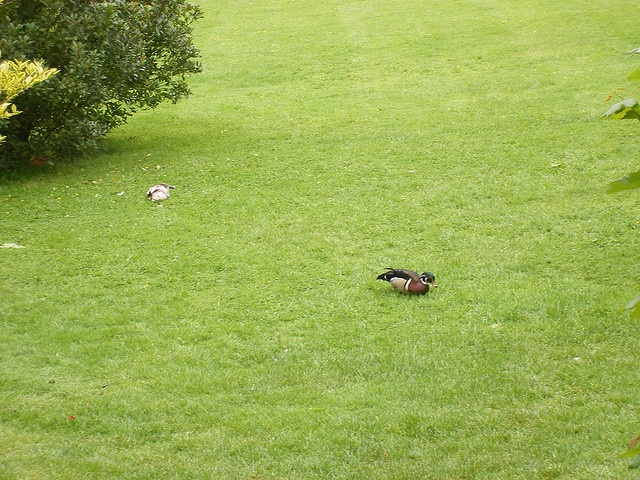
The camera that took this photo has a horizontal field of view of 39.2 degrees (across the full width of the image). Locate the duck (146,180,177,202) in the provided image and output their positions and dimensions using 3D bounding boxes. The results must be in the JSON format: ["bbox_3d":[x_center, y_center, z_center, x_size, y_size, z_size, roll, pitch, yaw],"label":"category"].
[{"bbox_3d":[-2.161,-0.638,11.983,0.311,0.118,0.292,-1,31,-14],"label":"duck"}]

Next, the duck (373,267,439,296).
[{"bbox_3d":[0.986,0.462,10.217,0.681,0.302,0.255,1,33,15],"label":"duck"}]
